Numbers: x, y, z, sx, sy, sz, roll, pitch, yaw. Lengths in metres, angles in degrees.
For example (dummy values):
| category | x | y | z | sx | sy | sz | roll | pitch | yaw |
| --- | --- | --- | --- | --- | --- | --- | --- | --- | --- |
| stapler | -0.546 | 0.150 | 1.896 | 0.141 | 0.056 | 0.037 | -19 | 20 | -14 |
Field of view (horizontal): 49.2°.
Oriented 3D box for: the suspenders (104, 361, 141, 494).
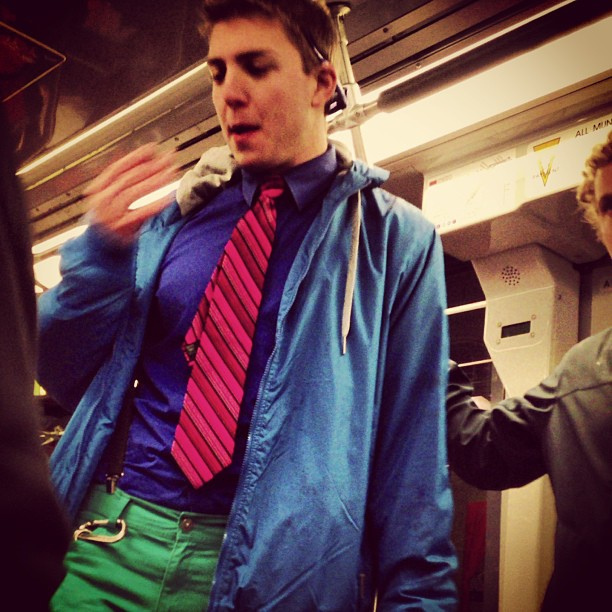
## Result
| category | x | y | z | sx | sy | sz | roll | pitch | yaw |
| --- | --- | --- | --- | --- | --- | --- | --- | --- | --- |
| suspenders | -0.347 | 0.241 | 1.389 | 0.049 | 0.284 | 0.030 | 4 | -31 | 14 |

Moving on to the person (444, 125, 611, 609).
| category | x | y | z | sx | sy | sz | roll | pitch | yaw |
| --- | --- | --- | --- | --- | --- | --- | --- | --- | --- |
| person | 0.597 | 0.151 | 1.700 | 0.482 | 1.060 | 0.665 | -5 | -2 | 11 |

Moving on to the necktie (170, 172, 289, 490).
| category | x | y | z | sx | sy | sz | roll | pitch | yaw |
| --- | --- | --- | --- | --- | --- | --- | --- | --- | --- |
| necktie | -0.163 | 0.050 | 1.351 | 0.153 | 0.386 | 0.265 | -5 | -3 | 21 |
